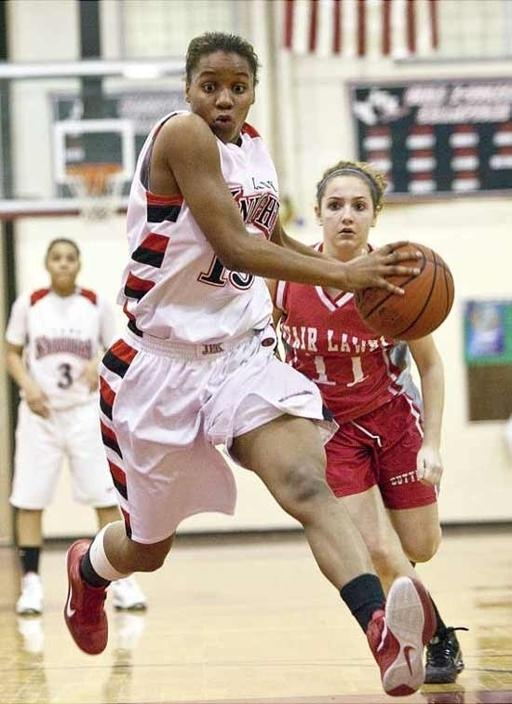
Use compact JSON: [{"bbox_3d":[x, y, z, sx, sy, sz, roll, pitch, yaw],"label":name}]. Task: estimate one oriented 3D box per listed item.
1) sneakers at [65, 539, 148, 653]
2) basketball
[{"bbox_3d":[-0.428,0.704,2.331,0.131,0.310,0.158,-6,5,-32],"label":"sneakers"},{"bbox_3d":[0.308,-0.121,1.696,0.207,0.206,0.153,0,11,1],"label":"basketball"}]
